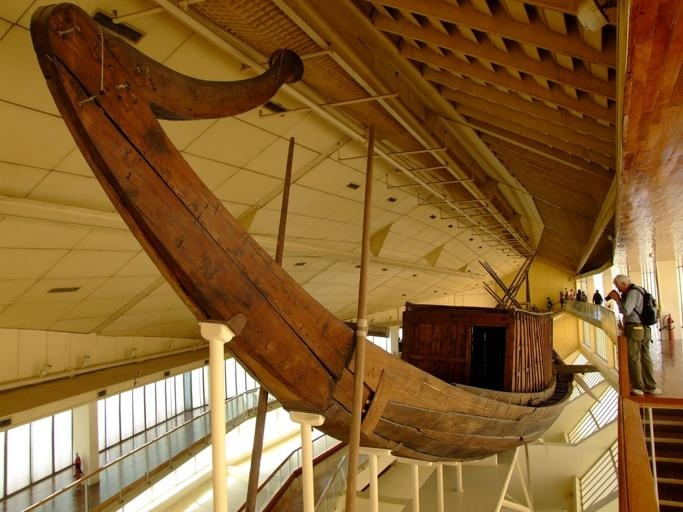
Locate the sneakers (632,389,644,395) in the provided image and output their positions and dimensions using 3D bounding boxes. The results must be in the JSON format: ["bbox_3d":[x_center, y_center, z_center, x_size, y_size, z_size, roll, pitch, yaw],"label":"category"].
[{"bbox_3d":[4.786,2.190,8.373,0.064,0.071,0.160,-3,10,-36],"label":"sneakers"}]

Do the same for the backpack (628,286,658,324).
[{"bbox_3d":[4.947,0.861,8.606,0.384,0.613,0.632,13,-16,-25],"label":"backpack"}]
